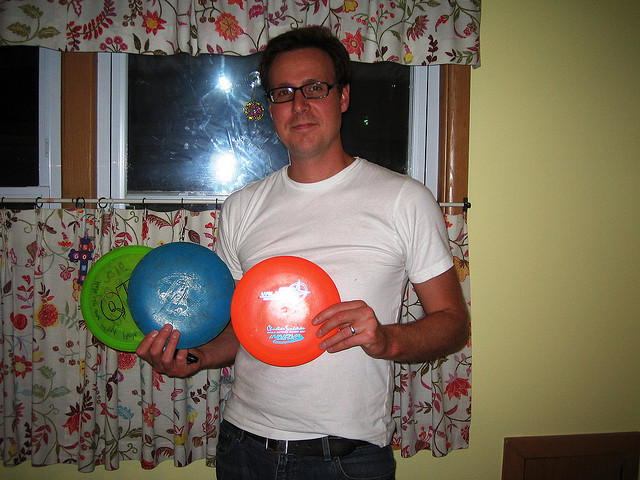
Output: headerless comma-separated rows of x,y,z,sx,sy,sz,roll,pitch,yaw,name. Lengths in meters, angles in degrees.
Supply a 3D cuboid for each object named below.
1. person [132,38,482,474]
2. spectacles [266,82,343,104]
0.004,0.043,2.196,1.171,1.826,0.495,2,2,17,person
-0.064,-0.641,2.294,0.322,0.112,0.083,1,2,0,spectacles
